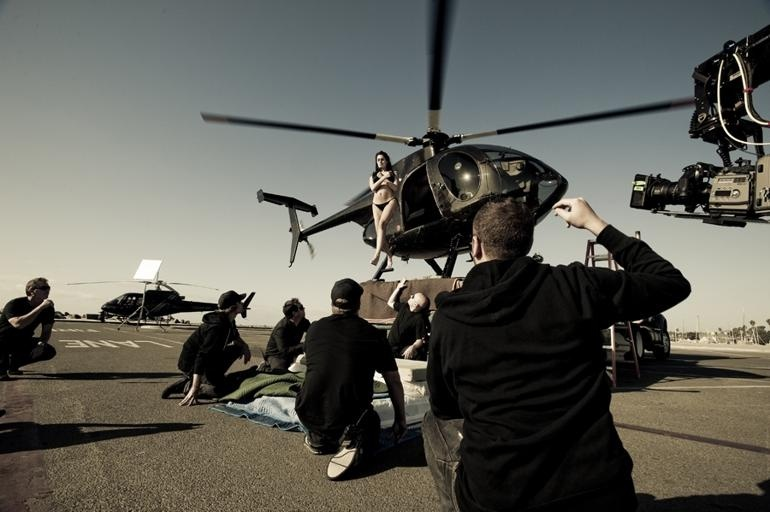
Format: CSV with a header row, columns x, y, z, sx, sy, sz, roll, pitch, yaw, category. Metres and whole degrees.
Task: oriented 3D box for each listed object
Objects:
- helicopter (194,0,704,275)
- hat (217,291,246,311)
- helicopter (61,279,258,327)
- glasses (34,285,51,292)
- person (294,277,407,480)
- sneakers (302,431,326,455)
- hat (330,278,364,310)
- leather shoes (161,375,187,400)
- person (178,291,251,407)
x,y,z,sx,sy,sz,roll,pitch,yaw,category
0.461,-2.061,10.154,4.747,1.960,5.783,13,-23,-39,helicopter
-2.222,0.615,7.203,0.330,0.315,0.451,-1,6,-19,hat
-8.818,1.954,19.211,3.599,1.014,2.987,8,3,-7,helicopter
-5.624,0.514,8.249,0.213,0.103,0.245,-4,7,-39,glasses
-0.399,1.251,5.442,1.145,1.943,0.883,0,7,-8,person
-0.783,2.048,5.515,0.157,0.165,0.376,9,-14,-40,sneakers
-0.414,0.400,5.252,0.298,0.219,0.382,5,30,5,hat
-3.274,2.020,7.798,0.397,0.151,0.132,-30,-28,4,leather shoes
-2.481,1.281,7.269,0.984,1.660,0.826,-1,7,-17,person
